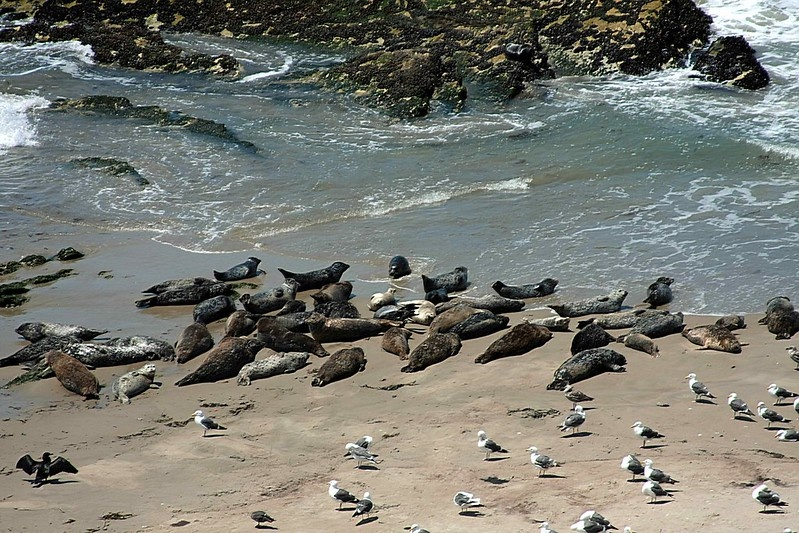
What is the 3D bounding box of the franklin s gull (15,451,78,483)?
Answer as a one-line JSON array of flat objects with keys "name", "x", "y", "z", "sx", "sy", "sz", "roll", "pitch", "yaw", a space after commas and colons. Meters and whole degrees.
[{"name": "franklin s gull", "x": -9.309, "y": 5.225, "z": 34.071, "sx": 1.840, "sy": 0.424, "sz": 0.963, "roll": 6, "pitch": 17, "yaw": -2}]
